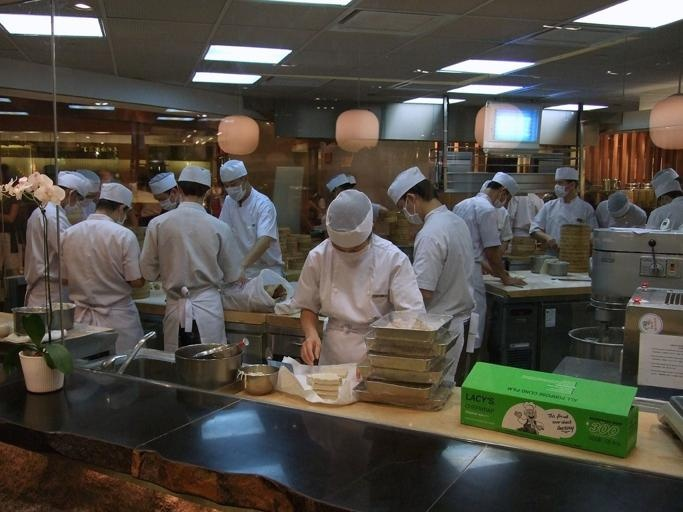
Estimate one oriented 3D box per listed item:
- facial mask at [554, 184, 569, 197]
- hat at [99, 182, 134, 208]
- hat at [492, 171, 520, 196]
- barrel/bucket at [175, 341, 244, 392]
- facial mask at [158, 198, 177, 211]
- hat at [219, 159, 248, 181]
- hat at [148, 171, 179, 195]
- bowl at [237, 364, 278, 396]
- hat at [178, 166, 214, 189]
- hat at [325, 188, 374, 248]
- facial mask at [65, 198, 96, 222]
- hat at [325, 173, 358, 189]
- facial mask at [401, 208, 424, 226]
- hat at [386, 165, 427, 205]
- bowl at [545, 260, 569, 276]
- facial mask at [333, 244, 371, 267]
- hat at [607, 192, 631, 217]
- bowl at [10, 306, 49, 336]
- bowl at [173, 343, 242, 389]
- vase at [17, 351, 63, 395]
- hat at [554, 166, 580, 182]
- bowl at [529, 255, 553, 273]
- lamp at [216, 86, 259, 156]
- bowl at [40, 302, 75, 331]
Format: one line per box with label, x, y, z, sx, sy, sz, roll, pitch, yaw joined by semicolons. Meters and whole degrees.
facial mask;1.095;-0.321;2.801;0.059;0.041;0.055;8;1;5
hat;-1.340;-0.355;3.323;0.171;0.148;0.208;-3;9;-22
hat;0.853;-0.372;2.899;0.095;0.115;0.214;7;11;41
barrel/bucket;-0.487;0.407;2.073;0.177;0.109;0.189;0;-4;0
facial mask;-1.170;-0.344;3.777;0.093;0.068;0.116;0;42;8
hat;-0.645;-0.503;3.310;0.120;0.079;0.125;0;29;11
hat;-1.167;-0.477;3.700;0.160;0.101;0.127;-19;33;-2
bowl;-0.316;0.450;2.056;0.191;0.076;0.125;4;9;26
hat;-0.845;-0.440;3.245;0.114;0.083;0.160;11;-2;27
hat;0.030;-0.137;2.235;0.169;0.229;0.127;4;-5;8
facial mask;-1.658;-0.271;3.559;0.145;0.153;0.056;-24;-35;16
hat;-0.009;-0.416;3.171;0.170;0.094;0.053;4;9;26
facial mask;0.396;-0.215;3.120;0.122;0.098;0.092;4;9;27
hat;0.354;-0.388;3.092;0.225;0.205;0.109;2;9;16
bowl;1.292;0.071;3.365;0.088;0.052;0.090;0;7;0
facial mask;0.039;0.004;2.374;0.093;0.068;0.122;0;-14;7
hat;1.323;-0.246;2.690;0.032;0.120;0.105;-4;9;-27
bowl;-1.254;0.264;2.260;0.129;0.086;0.127;2;3;0
bowl;-0.503;0.405;2.113;0.228;0.130;0.180;5;10;30
vase;-1.099;0.433;2.051;0.145;0.122;0.164;-2;5;-42
hat;1.108;-0.401;2.759;0.074;0.047;0.075;1;2;9
bowl;1.258;0.053;3.576;0.075;0.074;0.098;-3;6;-36
lamp;-0.585;-0.742;3.165;0.267;0.404;0.276;-9;14;-43
bowl;-1.225;0.264;2.425;0.119;0.105;0.147;2;2;12
